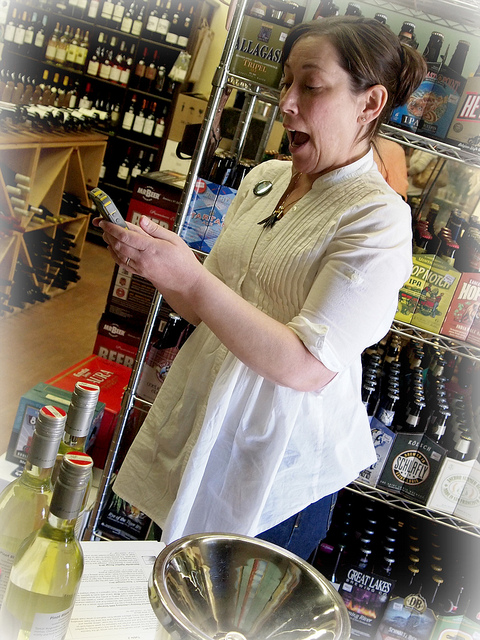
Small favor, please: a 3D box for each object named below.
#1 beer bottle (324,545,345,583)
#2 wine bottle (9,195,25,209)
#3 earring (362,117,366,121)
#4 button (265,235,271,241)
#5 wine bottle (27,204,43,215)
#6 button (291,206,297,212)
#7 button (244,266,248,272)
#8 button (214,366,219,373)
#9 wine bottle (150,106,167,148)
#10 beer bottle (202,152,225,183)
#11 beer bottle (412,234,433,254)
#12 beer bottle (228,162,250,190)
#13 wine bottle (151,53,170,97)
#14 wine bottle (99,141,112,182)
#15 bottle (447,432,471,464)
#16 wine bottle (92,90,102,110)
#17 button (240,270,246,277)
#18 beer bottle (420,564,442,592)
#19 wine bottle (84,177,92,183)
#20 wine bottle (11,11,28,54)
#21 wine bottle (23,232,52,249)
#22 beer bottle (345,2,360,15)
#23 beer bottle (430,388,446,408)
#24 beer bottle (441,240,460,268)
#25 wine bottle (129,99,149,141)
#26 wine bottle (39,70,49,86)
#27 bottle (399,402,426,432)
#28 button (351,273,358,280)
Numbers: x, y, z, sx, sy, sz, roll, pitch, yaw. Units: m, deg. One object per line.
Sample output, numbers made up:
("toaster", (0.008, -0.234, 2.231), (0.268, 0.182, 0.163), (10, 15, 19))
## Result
("beer bottle", (0.337, 0.882, 1.690), (0.045, 0.126, 0.073), (26, 12, 30))
("wine bottle", (-1.752, -0.928, 3.725), (0.059, 0.059, 0.250), (43, -18, -30))
("earring", (0.247, -0.403, 0.950), (0.005, 0.005, 0.003), (13, 12, -32))
("button", (0.060, -0.177, 1.018), (0.013, 0.011, 0.021), (-1, -2, 5))
("wine bottle", (-1.685, -0.905, 3.902), (0.108, 0.071, 0.346), (14, 12, -26))
("button", (0.115, -0.240, 1.021), (0.012, 0.012, 0.004), (-91, 156, -55))
("button", (0.013, -0.113, 1.044), (0.009, 0.009, 0.017), (-3, 15, 5))
("button", (-0.051, 0.113, 1.081), (0.003, 0.011, 0.011), (13, -2, -33))
("wine bottle", (-1.071, -2.594, 6.371), (0.173, 0.528, 0.065), (22, 10, 11))
("beer bottle", (-0.091, -0.542, 1.669), (0.054, 0.070, 0.081), (18, 11, -11))
("beer bottle", (0.642, -0.270, 1.680), (0.046, 0.075, 0.289), (23, 12, 17))
("beer bottle", (-0.001, -0.526, 1.716), (0.051, 0.115, 0.184), (19, 11, -5))
("wine bottle", (-1.018, -3.258, 6.255), (0.175, 0.542, 0.068), (20, 10, 0))
("wine bottle", (-1.832, -2.198, 6.572), (0.128, 0.547, 0.064), (20, 10, -2))
("bottle", (0.698, 0.414, 1.510), (0.062, 0.098, 0.053), (26, 12, 28))
("wine bottle", (-1.941, -3.041, 6.521), (0.114, 0.257, 0.048), (25, 11, 27))
("button", (0.005, -0.105, 1.056), (0.003, 0.010, 0.010), (16, 1, -41))
("beer bottle", (0.698, 0.951, 1.746), (0.033, 0.102, 0.089), (28, 13, 38))
("wine bottle", (-1.673, -1.544, 5.243), (0.072, 0.053, 0.073), (19, 11, -4))
("wine bottle", (-3.019, -3.982, 6.537), (0.150, 0.531, 0.087), (19, 10, -7))
("wine bottle", (-1.822, -0.728, 4.273), (0.062, 0.104, 0.274), (27, 13, 34))
("beer bottle", (0.345, -0.961, 1.464), (0.036, 0.044, 0.035), (2, 30, -1))
("beer bottle", (0.709, 0.280, 1.696), (0.040, 0.067, 0.027), (33, -1, 34))
("beer bottle", (0.722, -0.227, 1.640), (0.051, 0.129, 0.051), (20, -28, 11))
("wine bottle", (-1.340, -2.698, 6.377), (0.158, 0.550, 0.116), (18, 10, -12))
("wine bottle", (-2.717, -3.414, 6.662), (0.108, 0.217, 0.119), (14, 12, -31))
("bottle", (0.575, 0.327, 1.581), (0.046, 0.114, 0.045), (27, -1, 1))
("button", (0.193, -0.074, 0.804), (0.012, 0.010, 0.005), (19, 10, -2))
